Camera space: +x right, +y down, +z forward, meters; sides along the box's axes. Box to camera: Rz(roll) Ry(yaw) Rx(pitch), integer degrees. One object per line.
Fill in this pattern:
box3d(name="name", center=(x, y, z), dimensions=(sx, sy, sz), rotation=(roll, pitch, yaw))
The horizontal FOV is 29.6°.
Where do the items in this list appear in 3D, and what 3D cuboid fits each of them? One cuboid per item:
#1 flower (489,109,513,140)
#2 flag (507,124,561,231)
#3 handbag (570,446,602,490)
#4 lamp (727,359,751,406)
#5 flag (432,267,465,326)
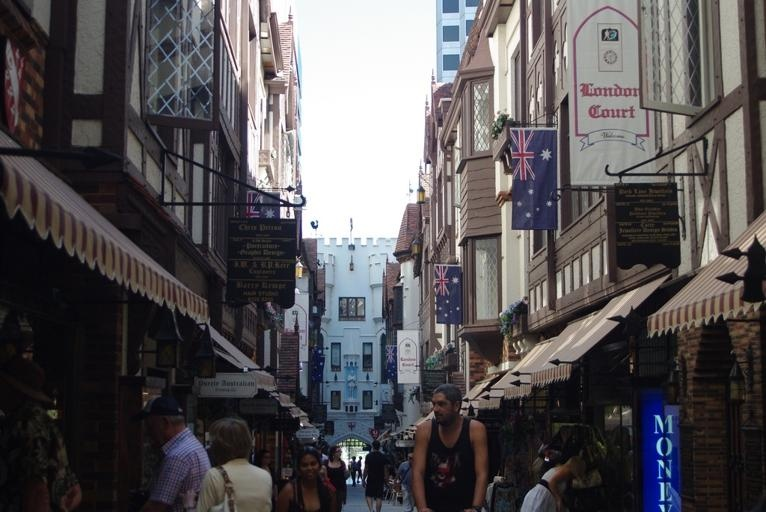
box3d(name="flower", center=(2.920, -3.208, 35.591), dimensions=(0.662, 0.824, 0.649), rotation=(0, 9, 15))
box3d(name="flag", center=(3.409, -1.817, 32.387), dimensions=(1.045, 2.165, 0.858), rotation=(-2, -15, 1))
box3d(name="handbag", center=(3.990, 4.078, 28.108), dimensions=(0.501, 0.931, 1.371), rotation=(-5, -18, 13))
box3d(name="lamp", center=(5.644, 1.904, 22.789), dimensions=(0.379, 0.662, 0.550), rotation=(1, -16, -11))
box3d(name="flag", center=(2.109, 1.033, 45.776), dimensions=(0.888, 2.028, 1.159), rotation=(-2, -15, 2))
